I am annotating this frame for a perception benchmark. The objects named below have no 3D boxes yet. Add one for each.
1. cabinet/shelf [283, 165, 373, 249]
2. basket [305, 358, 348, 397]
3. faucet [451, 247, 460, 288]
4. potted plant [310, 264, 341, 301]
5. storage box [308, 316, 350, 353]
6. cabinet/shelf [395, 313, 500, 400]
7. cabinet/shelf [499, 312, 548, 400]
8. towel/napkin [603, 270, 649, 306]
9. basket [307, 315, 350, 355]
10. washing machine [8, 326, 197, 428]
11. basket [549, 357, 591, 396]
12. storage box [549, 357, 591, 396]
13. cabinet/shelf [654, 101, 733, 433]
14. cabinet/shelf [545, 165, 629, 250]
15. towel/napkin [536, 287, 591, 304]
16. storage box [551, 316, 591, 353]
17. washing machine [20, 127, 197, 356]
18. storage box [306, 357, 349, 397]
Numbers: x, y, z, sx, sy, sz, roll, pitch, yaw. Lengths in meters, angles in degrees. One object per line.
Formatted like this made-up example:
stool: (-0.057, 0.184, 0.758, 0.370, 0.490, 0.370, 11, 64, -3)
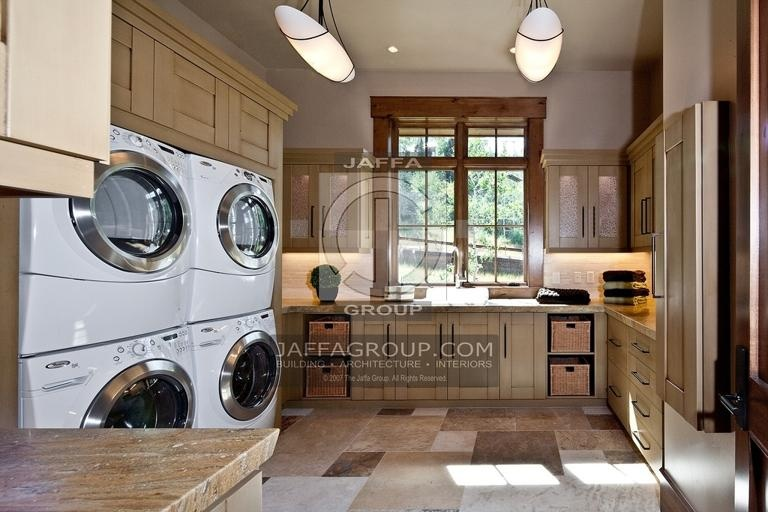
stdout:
cabinet/shelf: (-0.588, -0.465, 5.150, 0.790, 0.765, 0.323, 0, -4, -1)
basket: (-0.516, 1.146, 4.901, 0.354, 0.296, 0.196, 0, -11, 1)
faucet: (0.723, 0.100, 5.327, 0.090, 0.378, 0.261, -1, 7, 7)
potted plant: (-0.572, 0.265, 5.203, 0.301, 0.363, 0.297, -2, -8, -18)
storage box: (-0.510, 0.734, 4.891, 0.354, 0.285, 0.205, 1, -4, -13)
cabinet/shelf: (0.566, 0.867, 4.871, 0.900, 0.788, 0.332, 0, 8, 1)
cabinet/shelf: (1.282, 0.970, 4.876, 0.443, 0.806, 0.472, -8, -35, 25)
towel/napkin: (2.159, 0.255, 4.853, 0.311, 0.365, 0.371, 1, 0, -37)
basket: (-0.501, 0.749, 4.889, 0.343, 0.286, 0.191, 0, -11, -7)
washing machine: (-1.420, 0.642, 2.728, 0.479, 0.691, 0.734, -4, -7, 31)
basket: (1.635, 1.042, 4.713, 0.323, 0.242, 0.326, 0, -8, 4)
storage box: (1.698, 1.118, 4.836, 0.458, 0.253, 0.448, 2, -14, -5)
cabinet/shelf: (1.652, 0.030, 2.826, 0.220, 1.632, 0.557, 0, 7, 13)
cabinet/shelf: (1.942, -0.473, 5.021, 0.771, 0.864, 0.359, 0, -3, 3)
towel/napkin: (1.626, 0.365, 4.877, 0.441, 0.113, 0.310, 3, 8, 31)
storage box: (1.634, 0.720, 4.859, 0.480, 0.269, 0.498, -3, -8, 33)
washing machine: (-1.656, -0.058, 2.988, 1.106, 1.226, 0.997, 0, -7, -41)
storage box: (-0.535, 1.166, 4.897, 0.363, 0.300, 0.199, 1, -24, -8)
